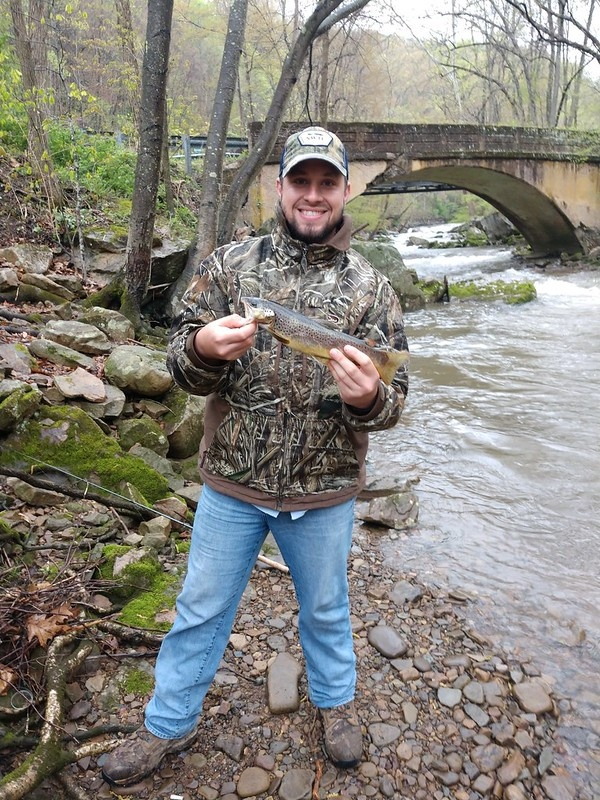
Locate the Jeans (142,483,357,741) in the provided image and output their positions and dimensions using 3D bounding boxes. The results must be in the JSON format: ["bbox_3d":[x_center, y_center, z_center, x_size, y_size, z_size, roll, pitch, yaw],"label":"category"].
[{"bbox_3d":[-0.180,0.704,2.407,0.933,1.568,0.350,-1,19,-12],"label":"Jeans"}]

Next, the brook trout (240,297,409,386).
[{"bbox_3d":[0.100,-0.206,2.057,0.590,0.292,0.271,4,14,4],"label":"brook trout"}]

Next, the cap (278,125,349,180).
[{"bbox_3d":[0.053,-0.931,2.202,0.273,0.188,0.372,1,10,-5],"label":"cap"}]

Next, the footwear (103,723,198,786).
[{"bbox_3d":[-0.638,1.469,2.442,0.145,0.159,0.393,15,8,37],"label":"footwear"}]
